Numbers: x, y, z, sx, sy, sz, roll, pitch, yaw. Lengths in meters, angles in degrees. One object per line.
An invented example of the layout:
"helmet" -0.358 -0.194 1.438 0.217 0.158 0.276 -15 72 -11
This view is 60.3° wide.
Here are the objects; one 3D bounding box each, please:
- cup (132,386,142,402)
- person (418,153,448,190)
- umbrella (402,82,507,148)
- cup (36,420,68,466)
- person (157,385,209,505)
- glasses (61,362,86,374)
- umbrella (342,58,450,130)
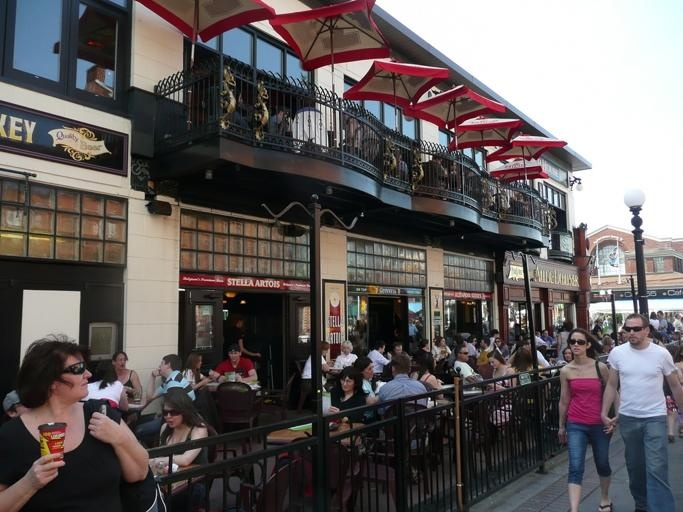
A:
"cup" -3.650 2.471 10.498 0.193 0.269 0.251 3 -11 -24
"person" 2.561 -2.319 16.074 0.890 0.923 0.376 3 -7 -25
"umbrella" 3.198 -4.017 15.729 1.724 0.922 1.699 13 -21 -38
"cup" -2.072 1.337 4.203 0.219 0.324 0.221 1 -5 0
"person" -1.691 2.112 6.397 0.532 1.274 1.843 2 -7 -17
"glasses" -2.061 0.850 4.531 0.096 0.039 0.103 -2 1 13
"umbrella" 1.308 -4.084 13.967 1.550 1.217 1.663 0 -26 1
